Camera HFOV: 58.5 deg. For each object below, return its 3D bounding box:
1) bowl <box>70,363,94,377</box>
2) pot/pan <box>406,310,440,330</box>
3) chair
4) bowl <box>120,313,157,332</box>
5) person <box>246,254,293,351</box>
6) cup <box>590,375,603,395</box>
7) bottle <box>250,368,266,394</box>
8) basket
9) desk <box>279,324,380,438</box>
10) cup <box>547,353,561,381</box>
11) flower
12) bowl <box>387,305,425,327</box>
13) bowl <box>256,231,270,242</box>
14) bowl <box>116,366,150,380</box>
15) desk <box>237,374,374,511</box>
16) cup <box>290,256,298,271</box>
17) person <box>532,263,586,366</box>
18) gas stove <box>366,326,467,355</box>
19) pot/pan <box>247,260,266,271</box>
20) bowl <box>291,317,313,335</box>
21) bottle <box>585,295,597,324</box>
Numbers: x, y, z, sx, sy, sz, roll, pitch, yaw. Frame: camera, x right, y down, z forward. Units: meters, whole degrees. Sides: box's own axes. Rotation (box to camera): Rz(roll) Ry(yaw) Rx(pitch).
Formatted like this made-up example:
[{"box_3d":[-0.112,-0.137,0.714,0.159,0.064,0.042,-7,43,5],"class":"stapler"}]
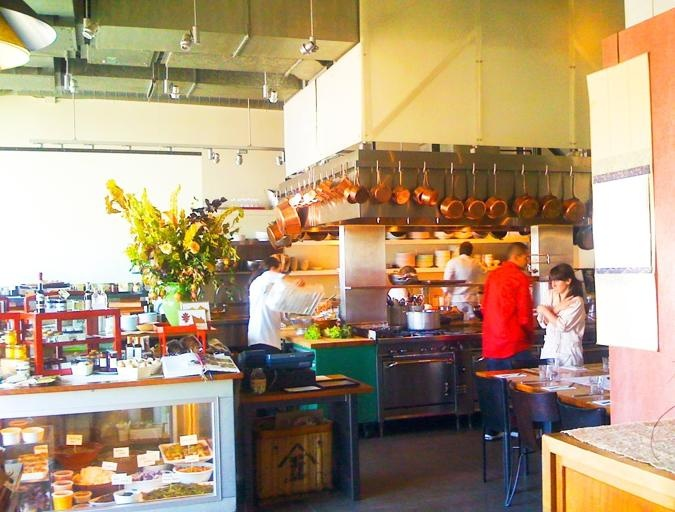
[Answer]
[{"box_3d":[-1.695,0.742,3.962,0.095,0.063,0.098,-1,-3,0],"class":"bowl"},{"box_3d":[0.935,0.703,6.535,0.283,0.107,0.207,0,-1,-38],"class":"pot/pan"},{"box_3d":[1.627,1.348,4.394,0.889,0.996,1.074,-1,-1,-12],"class":"chair"},{"box_3d":[-1.751,0.577,5.324,0.271,0.104,0.181,-1,-2,-20],"class":"bowl"},{"box_3d":[-0.751,0.486,6.484,0.384,0.998,0.461,5,-1,-13],"class":"person"},{"box_3d":[1.824,0.907,4.226,0.082,0.103,0.153,5,-1,22],"class":"cup"},{"box_3d":[-0.578,0.919,4.417,0.124,0.183,0.072,5,-1,-8],"class":"bottle"},{"box_3d":[-0.406,1.594,4.758,0.686,0.522,0.388,7,-7,-43],"class":"basket"},{"box_3d":[-0.139,1.269,6.381,1.153,1.054,0.765,0,-4,-14],"class":"desk"},{"box_3d":[1.738,0.905,4.840,0.119,0.200,0.116,0,-3,0],"class":"cup"},{"box_3d":[-1.218,-0.120,4.692,0.710,0.696,0.624,-15,-18,26],"class":"flower"},{"box_3d":[0.736,0.673,6.727,0.323,0.224,0.236,1,-5,-8],"class":"bowl"},{"box_3d":[-1.147,-0.293,9.239,0.176,0.109,0.170,0,-1,0],"class":"bowl"},{"box_3d":[-1.350,0.771,3.920,0.096,0.044,0.122,0,-1,30],"class":"bowl"},{"box_3d":[-0.267,1.218,4.721,1.239,1.134,0.816,0,1,-15],"class":"desk"},{"box_3d":[-0.605,0.105,8.255,0.108,0.186,0.166,1,-23,0],"class":"cup"},{"box_3d":[2.024,0.530,5.432,0.403,0.775,0.451,5,-1,21],"class":"person"},{"box_3d":[0.916,0.923,6.435,1.231,0.264,0.306,5,-1,-15],"class":"gas stove"},{"box_3d":[-1.203,0.142,9.108,0.311,0.153,0.303,-1,-5,12],"class":"pot/pan"},{"box_3d":[-0.407,0.796,6.789,0.216,0.146,0.211,0,-4,0],"class":"bowl"},{"box_3d":[2.906,0.620,6.923,0.110,0.249,0.287,5,-1,22],"class":"bottle"}]
